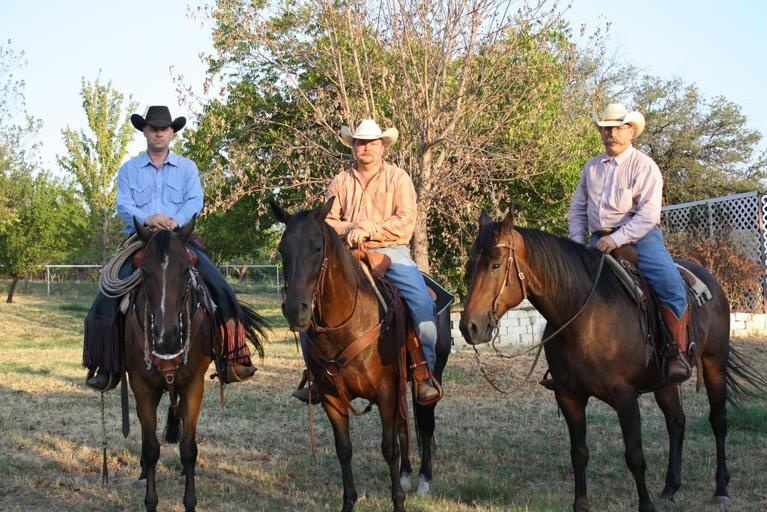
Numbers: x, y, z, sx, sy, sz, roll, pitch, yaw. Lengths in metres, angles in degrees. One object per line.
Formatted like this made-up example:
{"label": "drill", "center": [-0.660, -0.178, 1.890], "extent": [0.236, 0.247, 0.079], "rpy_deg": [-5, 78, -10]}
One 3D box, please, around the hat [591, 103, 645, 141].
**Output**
{"label": "hat", "center": [3.305, -1.978, 10.603], "extent": [0.552, 0.329, 0.739], "rpy_deg": [-2, -8, 8]}

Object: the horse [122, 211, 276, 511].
{"label": "horse", "center": [-2.909, 1.536, 10.445], "extent": [1.242, 4.068, 1.771], "rpy_deg": [1, -3, 20]}

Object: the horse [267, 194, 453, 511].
{"label": "horse", "center": [-0.532, 1.376, 9.737], "extent": [2.117, 4.178, 0.717], "rpy_deg": [4, -4, -38]}

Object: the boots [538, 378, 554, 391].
{"label": "boots", "center": [2.393, 1.849, 10.481], "extent": [0.138, 0.131, 0.384], "rpy_deg": [46, -18, -12]}
